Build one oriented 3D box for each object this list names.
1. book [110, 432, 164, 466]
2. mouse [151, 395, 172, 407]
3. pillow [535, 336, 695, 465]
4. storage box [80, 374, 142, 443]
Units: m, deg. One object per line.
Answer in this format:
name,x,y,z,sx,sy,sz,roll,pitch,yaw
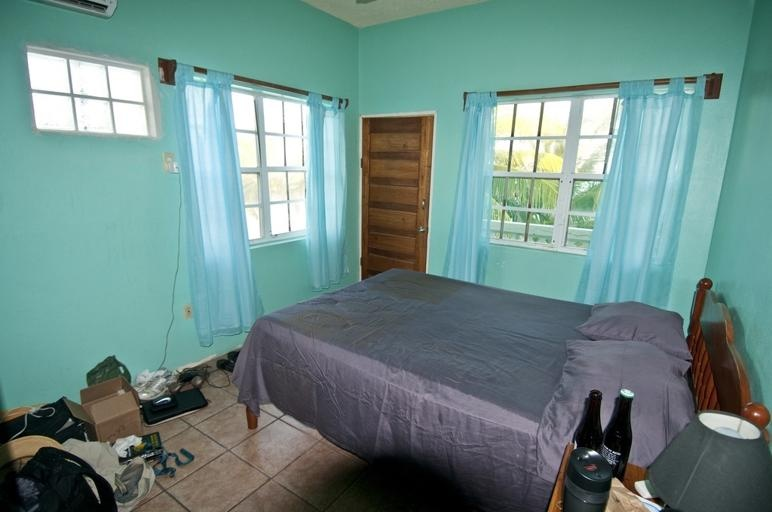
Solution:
book,-1.800,1.394,3.463,0.297,0.134,0.234,-10,16,-33
mouse,-1.812,1.162,3.848,0.103,0.028,0.075,-7,4,-7
pillow,1.478,0.860,2.988,0.774,0.737,0.211,12,-1,20
storage box,-2.071,1.167,3.602,0.365,0.373,0.385,-12,17,-34
